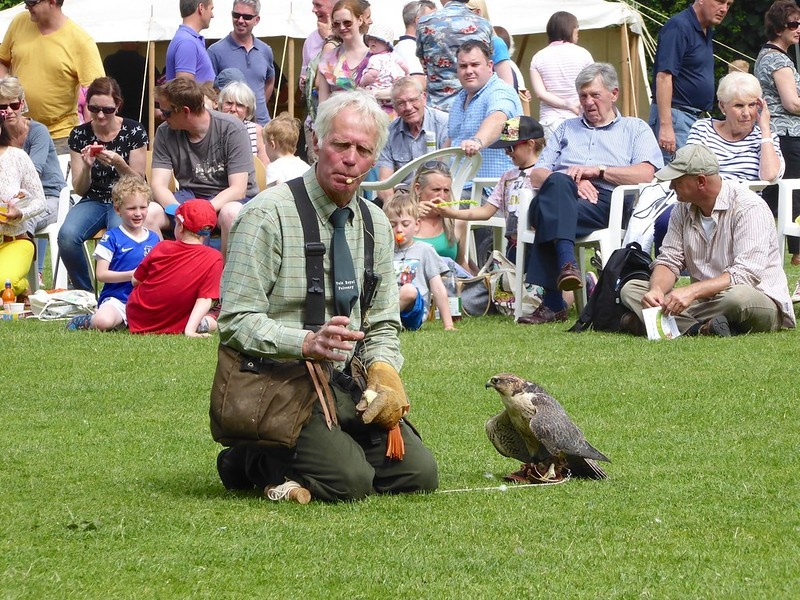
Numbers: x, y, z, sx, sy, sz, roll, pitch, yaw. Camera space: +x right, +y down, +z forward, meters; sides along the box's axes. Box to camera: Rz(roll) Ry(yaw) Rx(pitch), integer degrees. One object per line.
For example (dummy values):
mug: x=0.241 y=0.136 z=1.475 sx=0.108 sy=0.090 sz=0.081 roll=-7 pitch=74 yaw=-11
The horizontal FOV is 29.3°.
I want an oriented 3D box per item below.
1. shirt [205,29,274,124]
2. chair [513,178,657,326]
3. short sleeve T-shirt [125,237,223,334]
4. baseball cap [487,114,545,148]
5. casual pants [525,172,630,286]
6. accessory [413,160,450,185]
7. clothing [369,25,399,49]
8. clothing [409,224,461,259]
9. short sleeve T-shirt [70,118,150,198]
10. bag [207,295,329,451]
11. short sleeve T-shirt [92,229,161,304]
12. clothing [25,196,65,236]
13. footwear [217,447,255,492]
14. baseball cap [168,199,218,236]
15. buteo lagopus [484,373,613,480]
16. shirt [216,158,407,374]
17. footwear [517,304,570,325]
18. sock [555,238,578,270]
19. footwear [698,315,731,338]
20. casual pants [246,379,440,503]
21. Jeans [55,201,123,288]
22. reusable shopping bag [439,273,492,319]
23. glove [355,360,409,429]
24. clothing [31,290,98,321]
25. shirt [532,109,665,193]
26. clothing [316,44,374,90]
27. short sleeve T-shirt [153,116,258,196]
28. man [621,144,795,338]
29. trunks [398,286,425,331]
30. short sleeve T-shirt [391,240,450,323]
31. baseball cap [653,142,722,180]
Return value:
shirt: x=-1.604 y=-2.280 z=16.056 sx=0.729 sy=1.023 sz=0.379 roll=-7 pitch=12 yaw=-18
chair: x=1.333 y=-0.299 z=12.127 sx=1.082 sy=1.405 sz=1.039 roll=-2 pitch=-6 yaw=44
short sleeve T-shirt: x=-1.741 y=-0.086 z=11.692 sx=0.674 sy=0.827 sz=0.481 roll=17 pitch=11 yaw=-11
baseball cap: x=1.010 y=-1.386 z=12.506 sx=0.336 sy=0.170 sz=0.220 roll=-5 pitch=9 yaw=-8
casual pants: x=1.167 y=-0.558 z=12.028 sx=0.808 sy=1.024 sz=0.798 roll=3 pitch=1 yaw=41
accessory: x=0.255 y=-1.067 z=12.453 sx=0.236 sy=0.236 sz=0.070 roll=3 pitch=15 yaw=-16
clothing: x=-0.127 y=-2.492 z=14.131 sx=0.273 sy=0.127 sz=0.278 roll=7 pitch=-10 yaw=24
clothing: x=0.333 y=-0.448 z=12.525 sx=0.364 sy=0.361 sz=0.205 roll=-2 pitch=2 yaw=-1
short sleeve T-shirt: x=-2.391 y=-1.172 z=12.614 sx=0.719 sy=0.687 sz=0.395 roll=2 pitch=6 yaw=-5
bag: x=-0.709 y=0.441 z=8.200 sx=0.588 sy=0.773 sz=0.434 roll=4 pitch=-9 yaw=17
short sleeve T-shirt: x=-2.089 y=-0.262 z=11.831 sx=0.485 sy=0.536 sz=0.193 roll=16 pitch=1 yaw=-22
clothing: x=-3.029 y=-0.726 z=13.046 sx=0.112 sy=0.190 sz=0.325 roll=4 pitch=31 yaw=34
footwear: x=-0.921 y=0.933 z=8.413 sx=0.166 sy=0.254 sz=0.179 roll=14 pitch=9 yaw=-6
baseball cap: x=-1.550 y=-0.670 z=11.563 sx=0.218 sy=0.181 sz=0.334 roll=-18 pitch=45 yaw=-36
buteo lagopus: x=0.848 y=0.705 z=8.312 sx=0.754 sy=0.579 sz=0.571 roll=1 pitch=-6 yaw=-13
shirt: x=-0.402 y=-0.110 z=8.306 sx=1.116 sy=1.060 sz=0.733 roll=7 pitch=-2 yaw=-33
footwear: x=1.134 y=0.116 z=11.818 sx=0.421 sy=0.150 sz=0.149 roll=1 pitch=-2 yaw=-23
sock: x=1.259 y=-0.344 z=11.463 sx=0.197 sy=0.246 sz=0.582 roll=-4 pitch=2 yaw=11
footwear: x=2.251 y=0.195 z=10.730 sx=0.114 sy=0.103 sz=0.241 roll=-32 pitch=-5 yaw=20
casual pants: x=-0.254 y=0.733 z=8.225 sx=0.798 sy=0.433 sz=0.658 roll=-1 pitch=-3 yaw=39
Jeans: x=-2.640 y=-0.486 z=12.730 sx=0.619 sy=0.834 sz=0.672 roll=0 pitch=0 yaw=14
reusable shopping bag: x=0.668 y=0.017 z=12.702 sx=0.502 sy=0.438 sz=0.401 roll=-6 pitch=-2 yaw=14
glove: x=-0.061 y=0.505 z=8.186 sx=0.288 sy=0.326 sz=0.144 roll=26 pitch=-29 yaw=-29
clothing: x=-2.723 y=0.045 z=12.398 sx=0.531 sy=0.245 sz=0.316 roll=0 pitch=0 yaw=-12
shirt: x=1.580 y=-1.156 z=12.144 sx=1.131 sy=0.641 sz=0.661 roll=4 pitch=25 yaw=27
clothing: x=-0.470 y=-2.117 z=14.076 sx=0.483 sy=0.460 sz=0.265 roll=6 pitch=-9 yaw=-8
short sleeve T-shirt: x=-1.603 y=-1.166 z=12.325 sx=0.846 sy=0.676 sz=0.450 roll=-2 pitch=23 yaw=-4
man: x=2.261 y=-0.404 z=11.263 sx=1.340 sy=1.453 sz=1.325 roll=-2 pitch=-1 yaw=-20
trunks: x=0.117 y=0.064 z=11.668 sx=0.194 sy=0.302 sz=0.119 roll=1 pitch=43 yaw=0
short sleeve T-shirt: x=0.057 y=-0.204 z=11.950 sx=0.602 sy=0.570 sz=0.234 roll=0 pitch=19 yaw=3
baseball cap: x=2.015 y=-0.962 z=10.534 sx=0.369 sy=0.192 sz=0.246 roll=0 pitch=10 yaw=0
